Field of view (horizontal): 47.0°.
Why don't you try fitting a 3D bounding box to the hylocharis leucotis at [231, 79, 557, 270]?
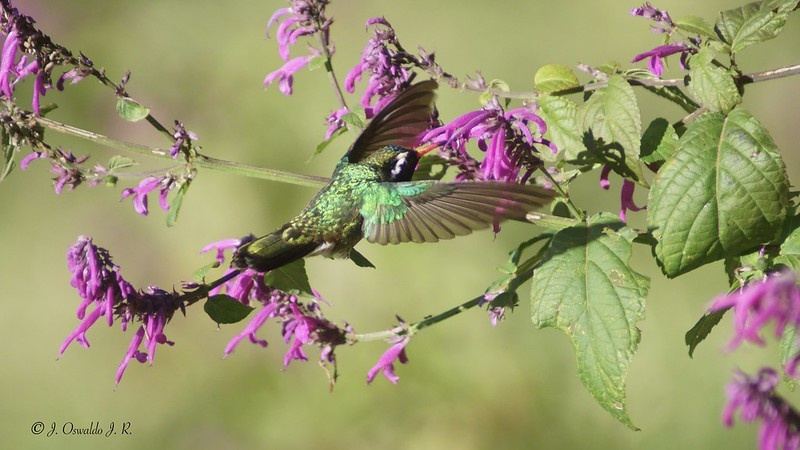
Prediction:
[{"bbox_3d":[-0.040,-0.085,3.053,0.704,0.779,0.289,-18,-76,-8],"label":"hylocharis leucotis"}]
